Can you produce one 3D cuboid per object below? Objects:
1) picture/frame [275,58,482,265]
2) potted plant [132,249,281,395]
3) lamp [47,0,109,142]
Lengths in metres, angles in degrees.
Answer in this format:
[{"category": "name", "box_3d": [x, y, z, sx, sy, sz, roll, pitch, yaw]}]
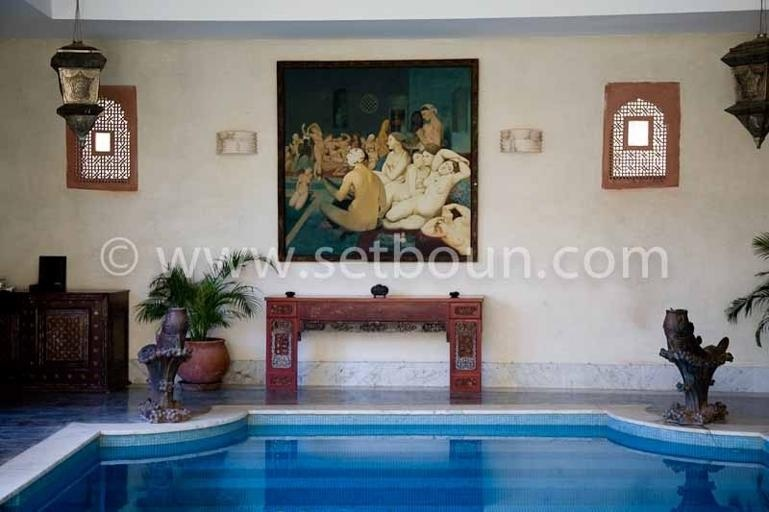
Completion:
[{"category": "picture/frame", "box_3d": [0.022, -1.446, 12.071, 2.744, 2.970, 0.138, 1, 0, -2]}, {"category": "potted plant", "box_3d": [-2.477, 0.966, 11.986, 1.819, 1.850, 1.243, 3, -5, -40]}, {"category": "lamp", "box_3d": [-3.601, -1.941, 9.942, 0.604, 1.163, 0.342, -2, 13, -10]}]
